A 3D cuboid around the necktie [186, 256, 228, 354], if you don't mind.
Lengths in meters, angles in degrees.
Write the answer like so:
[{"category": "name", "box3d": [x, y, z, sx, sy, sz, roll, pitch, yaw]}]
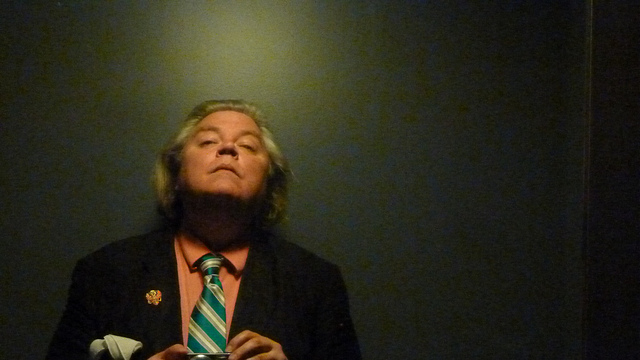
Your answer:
[{"category": "necktie", "box3d": [-0.489, 0.545, 2.487, 0.138, 0.423, 0.145, 0, 1, -5]}]
